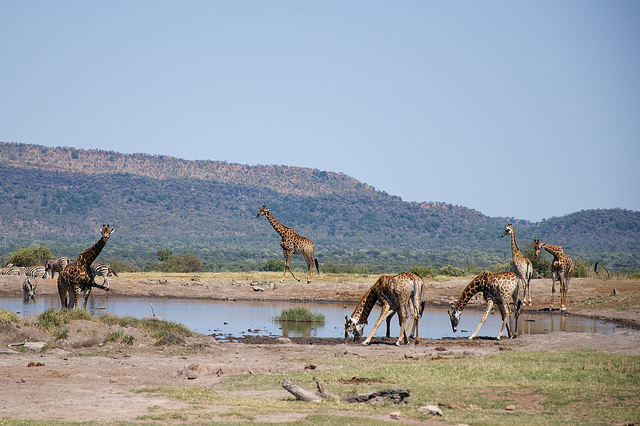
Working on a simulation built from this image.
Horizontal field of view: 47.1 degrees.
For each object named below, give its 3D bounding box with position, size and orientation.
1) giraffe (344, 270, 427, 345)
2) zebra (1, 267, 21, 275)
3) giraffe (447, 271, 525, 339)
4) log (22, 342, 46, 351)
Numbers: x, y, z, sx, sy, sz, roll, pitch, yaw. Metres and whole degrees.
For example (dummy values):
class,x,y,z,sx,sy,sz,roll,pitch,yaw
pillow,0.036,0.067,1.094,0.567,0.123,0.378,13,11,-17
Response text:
class,x,y,z,sx,sy,sz,roll,pitch,yaw
giraffe,3.161,5.006,34.056,2.769,4.286,5.835,-2,0,-9
zebra,-24.419,4.553,57.736,1.414,0.607,1.897,-2,2,-37
giraffe,8.150,4.536,35.573,1.278,3.577,4.213,17,-23,-34
log,-11.856,5.516,30.423,0.394,0.115,0.393,3,-1,29
